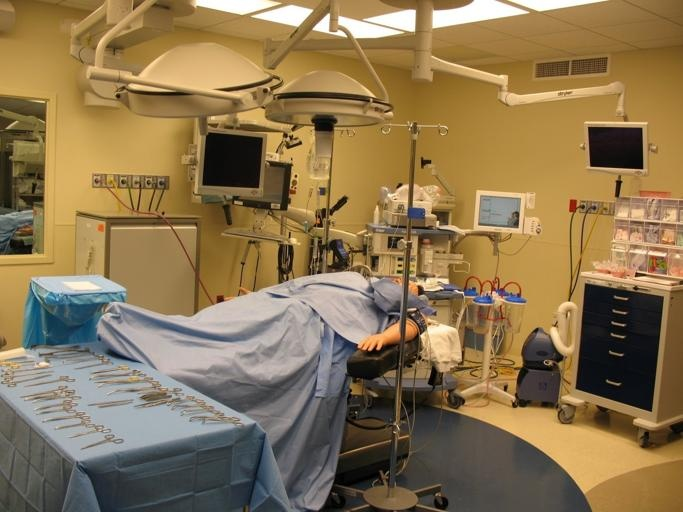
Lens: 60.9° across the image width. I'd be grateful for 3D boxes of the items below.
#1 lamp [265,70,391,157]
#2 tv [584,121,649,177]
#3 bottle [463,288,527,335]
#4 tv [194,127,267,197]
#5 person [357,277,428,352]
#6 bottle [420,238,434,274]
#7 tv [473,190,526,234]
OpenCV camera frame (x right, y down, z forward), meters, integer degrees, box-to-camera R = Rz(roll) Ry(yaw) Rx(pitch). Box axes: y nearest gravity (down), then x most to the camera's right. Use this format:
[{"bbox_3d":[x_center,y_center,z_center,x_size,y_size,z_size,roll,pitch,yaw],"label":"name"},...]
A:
[{"bbox_3d":[-0.065,-0.645,2.683,0.580,0.402,0.429,3,12,-2],"label":"lamp"},{"bbox_3d":[2.018,-0.793,4.269,0.419,0.372,0.046,11,35,32],"label":"tv"},{"bbox_3d":[1.198,0.447,4.641,0.422,0.298,0.332,-4,-4,42],"label":"bottle"},{"bbox_3d":[-0.888,-0.747,4.651,0.590,0.598,0.101,3,6,-26],"label":"tv"},{"bbox_3d":[0.328,0.264,3.330,0.317,0.415,0.755,6,12,13],"label":"person"},{"bbox_3d":[0.743,0.021,5.072,0.115,0.270,0.313,4,12,8],"label":"bottle"},{"bbox_3d":[1.286,-0.348,4.742,0.331,0.295,0.123,5,3,21],"label":"tv"}]
